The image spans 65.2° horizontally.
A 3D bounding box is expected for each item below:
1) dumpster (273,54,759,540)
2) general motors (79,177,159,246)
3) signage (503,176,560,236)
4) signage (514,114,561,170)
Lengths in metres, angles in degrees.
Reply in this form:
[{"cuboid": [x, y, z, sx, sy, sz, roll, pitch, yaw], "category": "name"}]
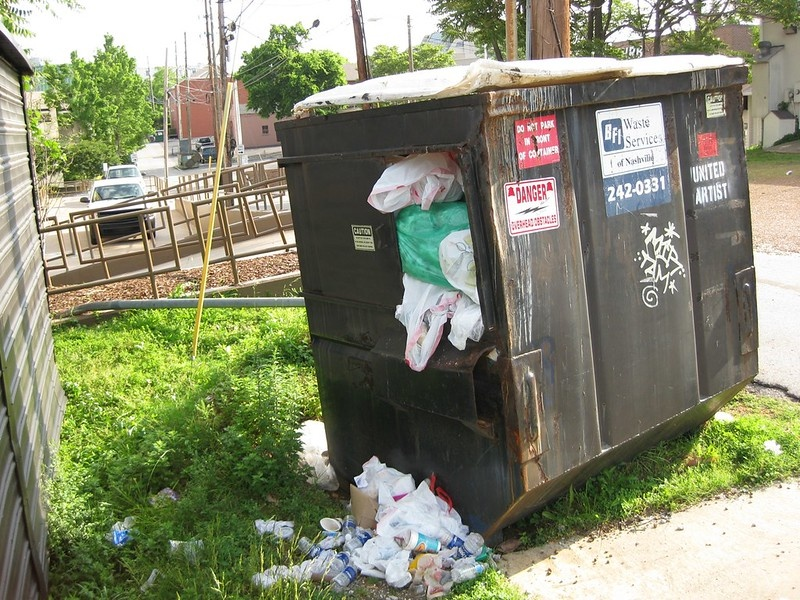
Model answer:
[{"cuboid": [1.224, -0.184, 4.846, 2.997, 2.877, 1.738, -13, 8, -34], "category": "dumpster"}, {"cuboid": [-7.185, -2.321, 16.195, 1.461, 1.468, 9.508, -13, 16, -23], "category": "general motors"}, {"cuboid": [0.762, -0.536, 3.622, 0.354, 0.301, 0.012, -11, 5, -21], "category": "signage"}, {"cuboid": [0.785, -0.907, 3.633, 0.269, 0.247, 0.023, -22, 8, -34], "category": "signage"}]
